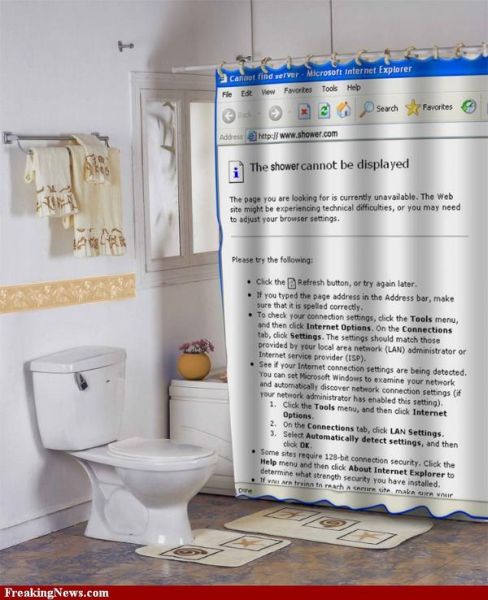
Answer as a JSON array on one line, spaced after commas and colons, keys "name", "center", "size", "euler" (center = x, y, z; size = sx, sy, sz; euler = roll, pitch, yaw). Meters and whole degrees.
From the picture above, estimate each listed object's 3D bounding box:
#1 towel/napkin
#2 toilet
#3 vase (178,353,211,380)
[{"name": "towel/napkin", "center": [-0.705, -0.416, 2.775], "size": [0.204, 0.537, 0.580], "euler": [3, 6, 30]}, {"name": "toilet", "center": [-0.418, 0.614, 2.787], "size": [0.819, 0.720, 0.443], "euler": [-2, -3, 31]}, {"name": "vase", "center": [-0.252, 0.333, 3.429], "size": [0.149, 0.104, 0.148], "euler": [0, -2, -3]}]
